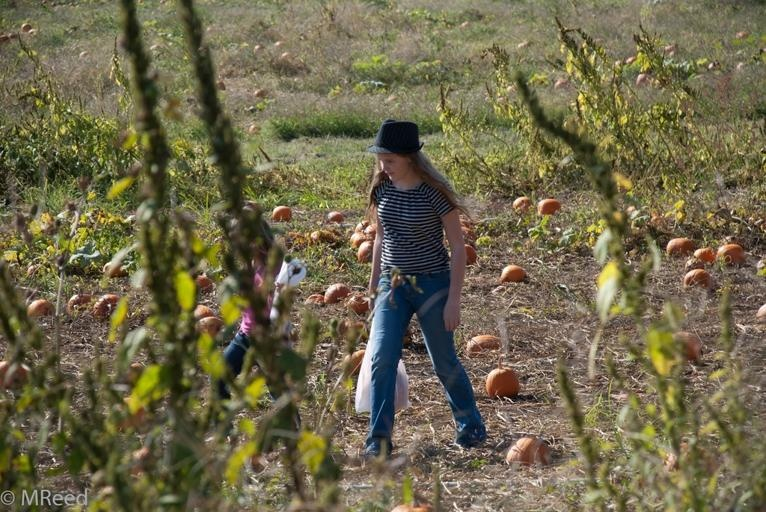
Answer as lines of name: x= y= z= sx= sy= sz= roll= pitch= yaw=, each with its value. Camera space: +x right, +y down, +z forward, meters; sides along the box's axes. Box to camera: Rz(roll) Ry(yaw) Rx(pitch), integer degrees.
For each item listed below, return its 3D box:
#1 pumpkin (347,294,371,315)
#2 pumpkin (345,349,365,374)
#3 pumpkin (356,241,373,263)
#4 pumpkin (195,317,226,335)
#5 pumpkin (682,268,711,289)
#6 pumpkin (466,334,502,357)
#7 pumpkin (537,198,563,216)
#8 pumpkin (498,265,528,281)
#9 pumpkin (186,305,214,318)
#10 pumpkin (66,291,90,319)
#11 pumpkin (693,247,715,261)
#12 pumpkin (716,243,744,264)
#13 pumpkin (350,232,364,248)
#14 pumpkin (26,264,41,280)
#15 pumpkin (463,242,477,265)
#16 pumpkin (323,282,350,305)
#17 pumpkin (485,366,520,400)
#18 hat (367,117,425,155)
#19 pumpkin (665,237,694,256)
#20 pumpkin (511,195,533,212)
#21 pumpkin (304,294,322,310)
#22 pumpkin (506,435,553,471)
pumpkin: x=-0.264 y=0.513 z=12.693 sx=0.247 sy=0.269 sz=0.203 roll=1 pitch=-16 yaw=-1
pumpkin: x=-0.306 y=1.051 z=11.950 sx=0.096 sy=0.288 sz=0.265 roll=17 pitch=-7 yaw=-30
pumpkin: x=-0.212 y=-0.048 z=13.831 sx=0.192 sy=0.269 sz=0.209 roll=17 pitch=0 yaw=1
pumpkin: x=-1.795 y=0.708 z=12.131 sx=0.298 sy=0.264 sz=0.419 roll=0 pitch=0 yaw=-13
pumpkin: x=3.493 y=0.243 z=12.918 sx=0.201 sy=0.240 sz=0.218 roll=1 pitch=7 yaw=18
pumpkin: x=1.065 y=0.919 z=12.460 sx=0.247 sy=0.172 sz=0.204 roll=-4 pitch=-14 yaw=-4
pumpkin: x=2.069 y=-0.608 z=14.614 sx=0.198 sy=0.190 sz=0.226 roll=-10 pitch=3 yaw=-4
pumpkin: x=1.498 y=0.198 z=13.455 sx=0.223 sy=0.167 sz=0.176 roll=-13 pitch=7 yaw=-40
pumpkin: x=-1.794 y=0.526 z=11.348 sx=0.177 sy=0.120 sz=0.197 roll=2 pitch=8 yaw=16
pumpkin: x=-3.361 y=0.501 z=12.854 sx=0.233 sy=0.247 sz=0.229 roll=-24 pitch=-6 yaw=-42
pumpkin: x=3.696 y=-0.014 z=13.373 sx=0.157 sy=0.172 sz=0.168 roll=11 pitch=9 yaw=-19
pumpkin: x=3.991 y=-0.057 z=13.352 sx=0.326 sy=0.145 sz=0.278 roll=-4 pitch=41 yaw=-6
pumpkin: x=-0.312 y=-0.217 z=14.083 sx=0.145 sy=0.168 sz=0.160 roll=2 pitch=20 yaw=21
pumpkin: x=-3.910 y=0.169 z=12.992 sx=0.153 sy=0.077 sz=0.141 roll=5 pitch=55 yaw=44
pumpkin: x=1.028 y=-0.061 z=13.726 sx=0.179 sy=0.269 sz=0.264 roll=-3 pitch=-17 yaw=7
pumpkin: x=-0.538 y=0.403 z=13.089 sx=0.228 sy=0.144 sz=0.196 roll=-19 pitch=3 yaw=-36
pumpkin: x=1.228 y=1.225 z=11.905 sx=0.276 sy=0.459 sz=0.295 roll=-6 pitch=0 yaw=18
hat: x=0.137 y=-1.151 z=11.374 sx=0.305 sy=0.224 sz=0.436 roll=6 pitch=9 yaw=30
pumpkin: x=3.455 y=-0.151 z=13.541 sx=0.200 sy=0.218 sz=0.210 roll=6 pitch=12 yaw=31
pumpkin: x=1.772 y=-0.651 z=14.924 sx=0.216 sy=0.212 sz=0.302 roll=0 pitch=40 yaw=0
pumpkin: x=-0.777 y=0.472 z=13.096 sx=0.223 sy=0.067 sz=0.199 roll=-7 pitch=42 yaw=-8
pumpkin: x=1.385 y=1.818 z=11.075 sx=0.425 sy=0.228 sz=0.343 roll=4 pitch=40 yaw=4
